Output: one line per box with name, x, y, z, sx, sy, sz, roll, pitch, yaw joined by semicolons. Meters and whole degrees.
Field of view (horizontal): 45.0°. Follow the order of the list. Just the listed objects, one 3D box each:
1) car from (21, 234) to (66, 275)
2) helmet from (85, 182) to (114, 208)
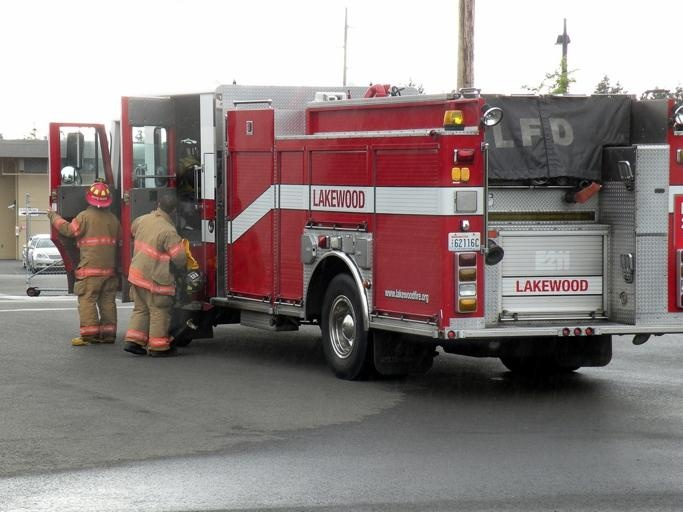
car;-10.768;-0.025;29.791;1.494;1.226;3.343;-1;-2;-25
helmet;-3.759;-0.985;12.754;0.294;0.225;0.427;3;32;-23
